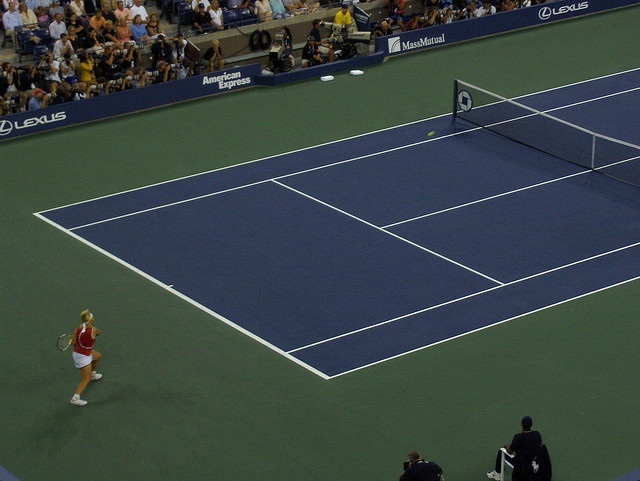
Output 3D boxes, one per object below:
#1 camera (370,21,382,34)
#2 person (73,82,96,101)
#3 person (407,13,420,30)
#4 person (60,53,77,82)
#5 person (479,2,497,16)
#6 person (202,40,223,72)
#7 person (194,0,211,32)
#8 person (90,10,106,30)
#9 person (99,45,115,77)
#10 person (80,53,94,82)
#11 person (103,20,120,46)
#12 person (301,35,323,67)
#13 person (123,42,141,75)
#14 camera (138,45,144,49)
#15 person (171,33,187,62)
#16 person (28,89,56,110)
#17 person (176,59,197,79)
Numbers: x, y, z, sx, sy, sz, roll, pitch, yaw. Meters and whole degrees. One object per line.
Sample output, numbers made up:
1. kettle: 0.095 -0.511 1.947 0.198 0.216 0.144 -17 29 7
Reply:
1. camera: 2.408 -8.578 34.077 0.557 0.302 0.811 3 31 18
2. person: -8.374 -5.187 29.062 0.744 0.549 0.364 -15 19 -19
3. person: 4.049 -9.228 35.450 0.510 0.589 1.034 -13 19 -14
4. person: -9.019 -6.005 29.426 0.517 1.042 0.555 -14 19 -17
5. person: 7.416 -10.006 35.975 0.748 0.559 0.481 -11 18 -7
6. person: -4.025 -6.867 31.520 0.565 1.290 0.961 -19 44 -36
7. person: -4.693 -8.753 32.907 0.695 1.323 0.735 -17 51 -19
8. person: -8.306 -8.110 30.931 0.500 0.809 0.577 -20 65 -31
9. person: -7.616 -6.255 29.556 0.610 1.014 0.382 -13 18 -14
10. person: -8.291 -6.054 29.275 0.537 0.984 0.437 -13 18 -13
11. person: -7.795 -7.581 30.567 0.528 0.785 0.793 -13 19 -13
12. person: -0.267 -7.066 32.295 0.915 1.593 0.940 -1 20 -1
13. person: -6.878 -6.518 29.984 0.658 1.066 1.167 -12 19 -12
14. camera: -6.722 -7.155 30.944 0.169 0.179 0.159 -1 20 -16
15. person: -5.305 -7.149 31.174 0.374 0.932 1.183 -2 20 18
16. person: -9.703 -4.780 28.340 0.799 0.613 0.753 -13 19 -12
17. person: -5.110 -6.382 31.097 0.540 0.643 0.962 0 20 24
